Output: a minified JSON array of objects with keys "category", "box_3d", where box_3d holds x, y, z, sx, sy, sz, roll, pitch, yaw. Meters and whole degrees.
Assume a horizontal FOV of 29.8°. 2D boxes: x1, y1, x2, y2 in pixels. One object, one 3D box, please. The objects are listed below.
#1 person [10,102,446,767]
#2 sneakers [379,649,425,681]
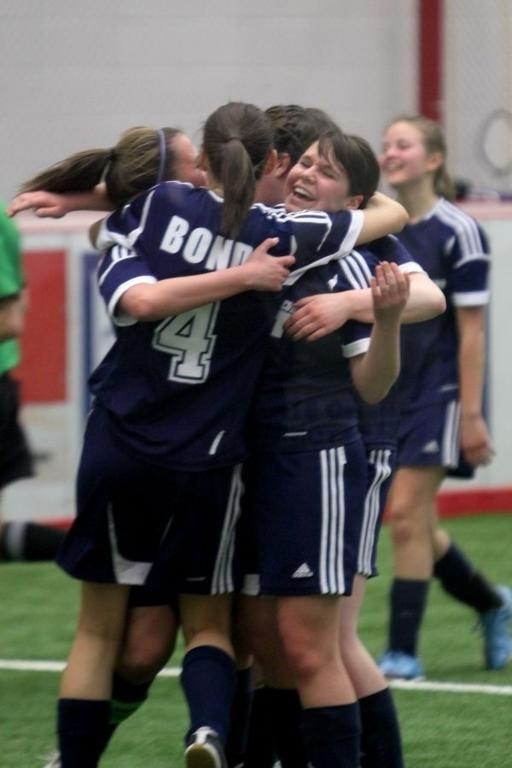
[{"category":"person","box_3d":[-0.036,0.159,1.840,0.823,1.383,0.529,-4,14,-11]},{"category":"sneakers","box_3d":[0.418,0.814,2.826,0.135,0.123,0.196,1,-25,7]}]
